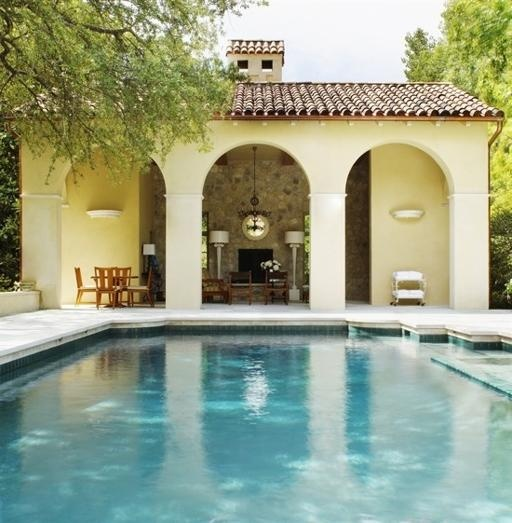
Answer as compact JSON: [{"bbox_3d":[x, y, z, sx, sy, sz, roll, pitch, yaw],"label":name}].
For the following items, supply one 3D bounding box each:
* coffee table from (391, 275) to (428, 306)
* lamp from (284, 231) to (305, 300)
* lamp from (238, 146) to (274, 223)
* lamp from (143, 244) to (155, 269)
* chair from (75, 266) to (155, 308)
[{"bbox_3d":[3.392,0.597,11.411,0.827,0.873,0.727,0,-6,0],"label":"coffee table"},{"bbox_3d":[1.049,0.098,14.354,0.518,1.880,0.754,1,3,6],"label":"lamp"},{"bbox_3d":[-0.047,-2.027,14.209,0.889,1.827,0.979,0,3,1],"label":"lamp"},{"bbox_3d":[-2.861,-0.162,13.692,0.331,0.649,1.105,0,3,-13],"label":"lamp"},{"bbox_3d":[-3.161,0.589,11.424,1.423,0.627,1.359,0,-2,12],"label":"chair"}]
